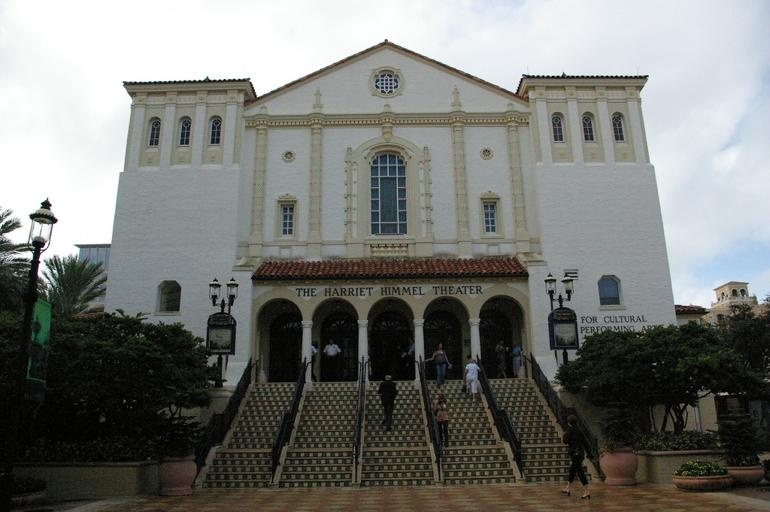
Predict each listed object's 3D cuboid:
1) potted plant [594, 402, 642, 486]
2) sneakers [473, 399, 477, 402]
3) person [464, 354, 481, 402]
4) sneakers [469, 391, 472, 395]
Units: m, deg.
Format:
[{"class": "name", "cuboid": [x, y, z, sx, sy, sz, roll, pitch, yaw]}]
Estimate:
[{"class": "potted plant", "cuboid": [8.280, 6.648, 19.095, 1.485, 2.509, 0.892, 9, -24, -23]}, {"class": "sneakers", "cuboid": [3.997, 6.366, 24.056, 0.207, 0.181, 0.104, 0, -31, -8]}, {"class": "person", "cuboid": [3.943, 5.403, 24.376, 0.659, 1.804, 0.775, -1, -22, 0]}, {"class": "sneakers", "cuboid": [3.787, 6.064, 24.141, 0.186, 0.165, 0.173, -1, -19, 4]}]
